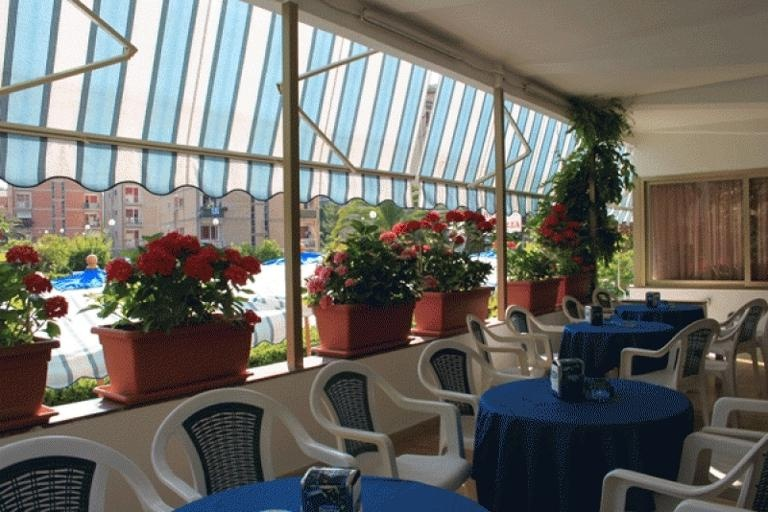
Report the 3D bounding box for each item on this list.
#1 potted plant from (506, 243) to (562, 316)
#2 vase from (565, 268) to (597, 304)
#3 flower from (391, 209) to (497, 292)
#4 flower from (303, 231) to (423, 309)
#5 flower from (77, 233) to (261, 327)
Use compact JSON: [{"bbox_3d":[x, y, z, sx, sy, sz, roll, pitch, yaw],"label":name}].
[{"bbox_3d":[2.162,0.396,8.323,0.847,0.872,0.626,-5,6,-43],"label":"potted plant"},{"bbox_3d":[3.044,0.454,8.837,0.515,0.533,0.622,-2,0,36],"label":"vase"},{"bbox_3d":[0.670,-0.097,6.448,0.921,0.707,1.019,-5,-2,38],"label":"flower"},{"bbox_3d":[-0.227,0.086,5.591,0.861,0.606,0.771,-23,3,6],"label":"flower"},{"bbox_3d":[-1.441,0.202,4.060,0.814,0.628,0.857,-7,-5,32],"label":"flower"}]
